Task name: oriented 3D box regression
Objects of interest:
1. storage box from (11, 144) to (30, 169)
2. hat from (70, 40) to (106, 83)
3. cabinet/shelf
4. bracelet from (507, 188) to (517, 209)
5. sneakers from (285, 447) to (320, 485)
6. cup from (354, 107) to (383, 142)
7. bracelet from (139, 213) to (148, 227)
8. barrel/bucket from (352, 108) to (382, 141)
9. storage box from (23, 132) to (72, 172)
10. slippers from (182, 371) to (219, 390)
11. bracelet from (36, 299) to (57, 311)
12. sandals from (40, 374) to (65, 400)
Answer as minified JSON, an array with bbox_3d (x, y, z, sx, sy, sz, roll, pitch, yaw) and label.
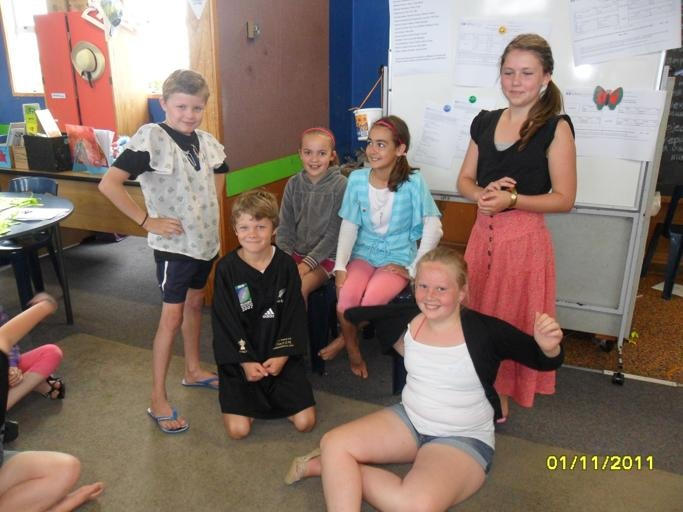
[{"bbox_3d":[-2.470,-0.762,4.016,0.093,0.158,0.159,-9,21,-29],"label":"storage box"},{"bbox_3d":[-2.093,-1.585,4.293,0.341,0.331,0.111,11,22,29],"label":"hat"},{"bbox_3d":[-2.169,-1.599,4.581,0.579,1.102,0.591,10,35,1],"label":"cabinet/shelf"},{"bbox_3d":[0.744,-0.248,2.253,0.063,0.055,0.065,-8,-6,7],"label":"bracelet"},{"bbox_3d":[-0.168,0.895,2.249,0.152,0.062,0.132,-33,21,-1],"label":"sneakers"},{"bbox_3d":[0.136,-0.818,3.303,0.230,0.207,0.219,-1,15,0],"label":"cup"},{"bbox_3d":[-0.921,-0.164,2.419,0.013,0.048,0.049,24,-2,-16],"label":"bracelet"},{"bbox_3d":[0.135,-0.796,3.270,0.222,0.211,0.236,-1,11,0],"label":"barrel/bucket"},{"bbox_3d":[-2.228,-0.789,4.001,0.298,0.261,0.318,9,20,20],"label":"storage box"},{"bbox_3d":[-0.754,0.664,2.810,0.190,0.060,0.091,1,10,1],"label":"slippers"},{"bbox_3d":[-1.119,0.180,1.995,0.044,0.017,0.046,19,6,19],"label":"bracelet"},{"bbox_3d":[-1.511,0.681,2.726,0.162,0.065,0.055,19,22,41],"label":"sandals"}]
